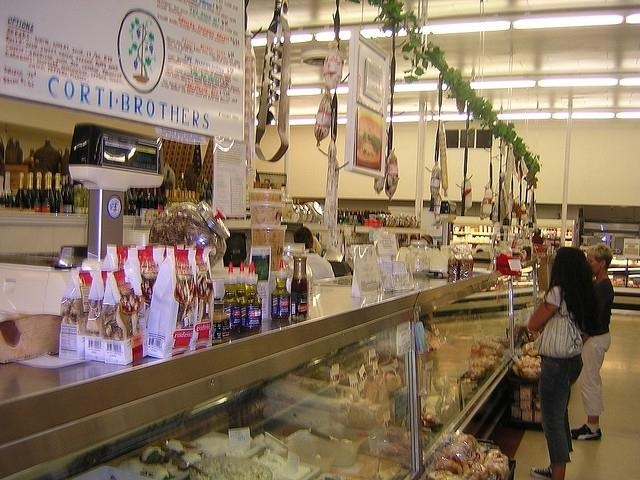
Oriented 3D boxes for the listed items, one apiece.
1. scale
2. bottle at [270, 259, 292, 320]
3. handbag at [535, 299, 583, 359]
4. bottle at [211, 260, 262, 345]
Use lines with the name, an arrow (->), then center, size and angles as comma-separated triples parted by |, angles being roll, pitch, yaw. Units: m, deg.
scale -> -0.525, -0.200, 1.290 | 0.074, 0.185, 0.244 | 6, 4, 26
bottle -> -0.123, 0.155, 1.521 | 0.057, 0.173, 0.132 | 0, 1, -5
handbag -> 1.848, 0.633, 3.726 | 0.286, 0.488, 0.242 | -16, 14, -24
bottle -> -0.225, 0.179, 1.328 | 0.078, 0.335, 0.088 | -20, -29, 41
